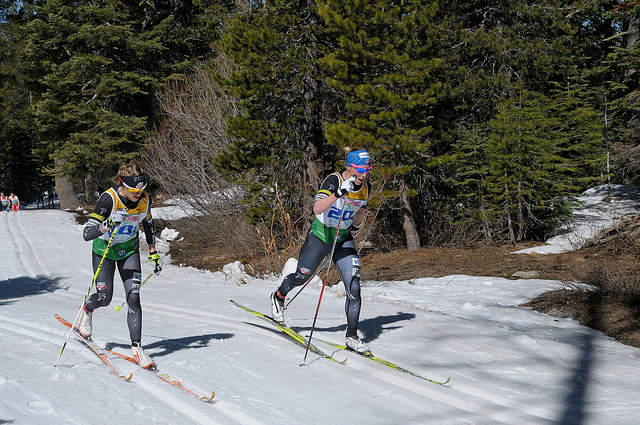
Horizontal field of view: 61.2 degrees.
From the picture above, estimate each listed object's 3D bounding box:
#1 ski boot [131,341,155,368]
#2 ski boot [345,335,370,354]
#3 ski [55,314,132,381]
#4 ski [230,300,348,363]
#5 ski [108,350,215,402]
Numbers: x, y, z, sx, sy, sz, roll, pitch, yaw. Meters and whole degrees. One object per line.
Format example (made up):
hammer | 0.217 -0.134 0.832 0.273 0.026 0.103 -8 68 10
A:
ski boot | -3.003 2.441 9.433 0.551 0.385 0.236 10 10 39
ski boot | 0.692 2.437 10.025 0.416 0.196 0.241 9 11 40
ski | -4.098 2.473 9.817 1.982 0.220 0.227 29 24 36
ski | -0.633 2.402 10.817 2.536 0.175 0.282 24 -14 39
ski | -2.665 2.750 9.054 1.340 0.160 0.140 25 17 29
